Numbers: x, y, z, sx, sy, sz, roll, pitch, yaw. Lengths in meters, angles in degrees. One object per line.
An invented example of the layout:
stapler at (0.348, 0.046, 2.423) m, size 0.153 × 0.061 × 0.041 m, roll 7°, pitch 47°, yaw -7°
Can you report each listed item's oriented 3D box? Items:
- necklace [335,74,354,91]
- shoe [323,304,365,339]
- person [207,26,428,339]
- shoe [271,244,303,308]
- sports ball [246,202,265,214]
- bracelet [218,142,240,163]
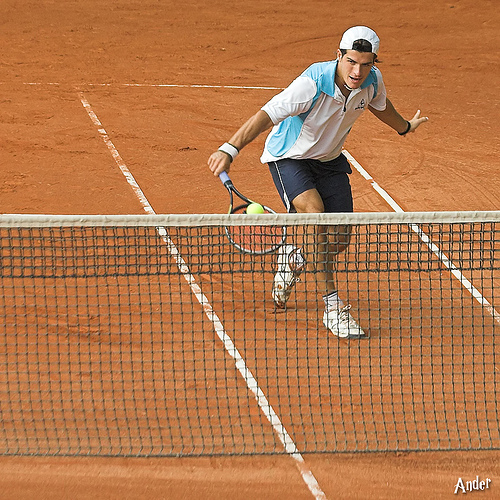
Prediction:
necklace at (0.681, -1.212, 5.241) m, size 0.060 × 0.155 × 0.007 m, roll -18°, pitch 31°, yaw 48°
shoe at (0.726, 0.527, 5.772) m, size 0.180 × 0.301 × 0.459 m, roll 0°, pitch 6°, yaw -18°
person at (0.456, -0.571, 5.650) m, size 1.097 × 2.309 × 1.599 m, roll 12°, pitch 33°, yaw 18°
shoe at (0.225, 0.208, 5.828) m, size 0.196 × 0.541 × 0.241 m, roll -6°, pitch 34°, yaw -32°
sports ball at (0.033, -0.307, 5.210) m, size 0.099 × 0.107 × 0.095 m, roll 0°, pitch 7°, yaw 0°
bracelet at (-0.149, -0.705, 5.145) m, size 0.137 × 0.108 × 0.133 m, roll 5°, pitch 57°, yaw -37°
